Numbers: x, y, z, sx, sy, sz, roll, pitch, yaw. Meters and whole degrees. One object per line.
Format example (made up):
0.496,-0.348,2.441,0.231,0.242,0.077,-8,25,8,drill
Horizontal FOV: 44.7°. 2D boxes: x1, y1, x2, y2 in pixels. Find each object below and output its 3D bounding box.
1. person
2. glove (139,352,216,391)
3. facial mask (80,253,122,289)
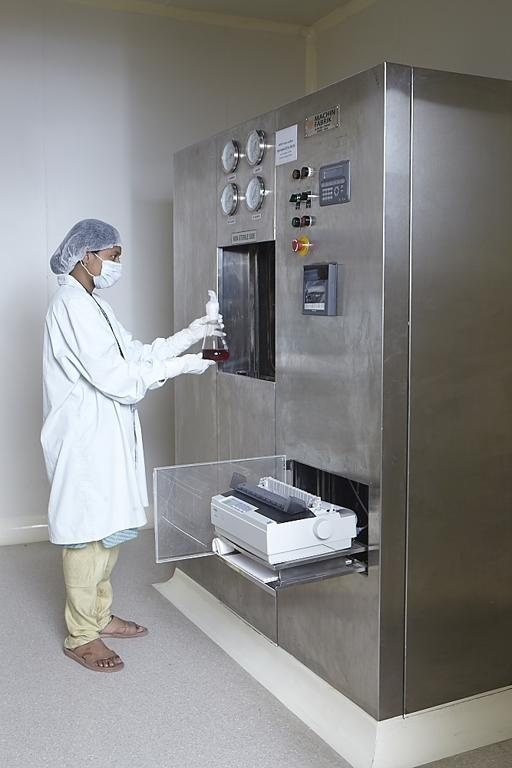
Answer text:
-0.460,0.207,2.081,0.570,1.470,0.503,-1,2,-7,person
-0.245,-0.043,1.908,0.210,0.097,0.110,-1,3,-6,glove
-0.494,-0.367,2.009,0.102,0.090,0.096,5,6,-8,facial mask
